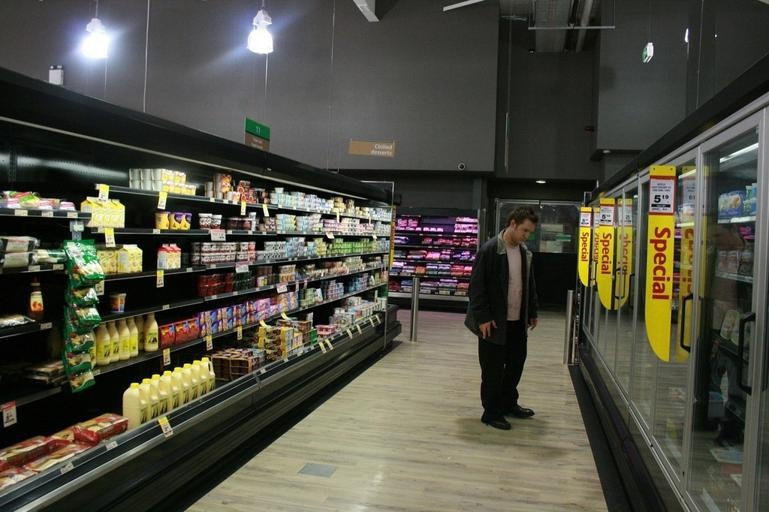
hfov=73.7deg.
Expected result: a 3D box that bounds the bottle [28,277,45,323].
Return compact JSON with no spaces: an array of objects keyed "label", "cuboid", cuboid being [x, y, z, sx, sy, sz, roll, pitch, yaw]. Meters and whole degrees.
[{"label":"bottle","cuboid":[-2.492,0.307,3.662,0.084,0.290,0.157,-1,5,-35]}]

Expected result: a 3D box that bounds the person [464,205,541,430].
[{"label":"person","cuboid":[1.283,0.651,5.520,0.861,2.369,0.570,1,4,-6]}]

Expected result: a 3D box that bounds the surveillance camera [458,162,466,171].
[{"label":"surveillance camera","cuboid":[1.882,-2.199,12.547,0.201,0.200,0.055,2,4,-2]}]

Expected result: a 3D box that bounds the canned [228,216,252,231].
[{"label":"canned","cuboid":[-1.524,-0.342,5.397,0.124,0.098,0.201,4,4,31]}]

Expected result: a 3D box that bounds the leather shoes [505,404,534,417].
[{"label":"leather shoes","cuboid":[1.527,1.769,5.869,0.359,0.157,0.124,-3,-1,12]}]

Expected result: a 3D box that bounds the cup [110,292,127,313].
[{"label":"cup","cuboid":[-2.173,0.377,4.179,0.104,0.151,0.144,-1,5,-33]}]

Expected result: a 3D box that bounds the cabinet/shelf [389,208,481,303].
[{"label":"cabinet/shelf","cuboid":[1.232,0.011,12.198,2.214,2.111,0.865,3,-7,10]}]
